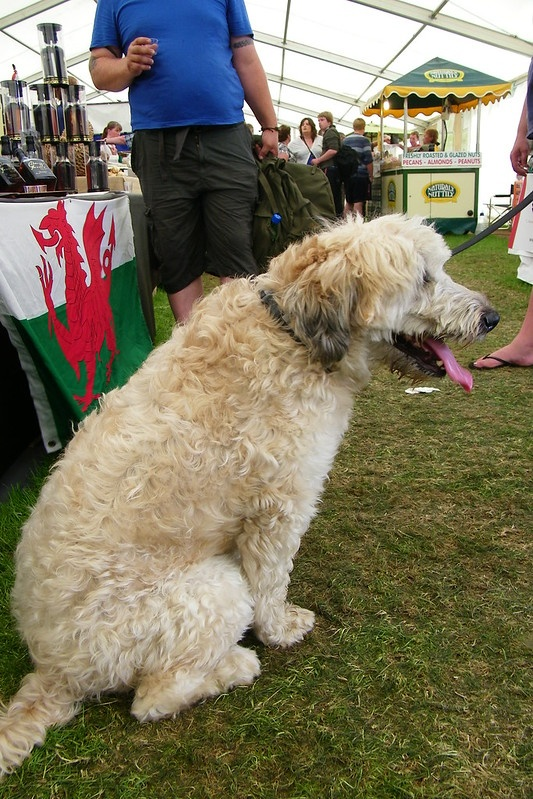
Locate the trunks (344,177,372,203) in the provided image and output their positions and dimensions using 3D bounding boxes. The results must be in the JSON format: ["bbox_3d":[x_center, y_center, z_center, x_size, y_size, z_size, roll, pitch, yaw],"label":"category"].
[{"bbox_3d":[1.920,-4.424,12.921,0.484,0.546,0.799,1,19,5],"label":"trunks"}]

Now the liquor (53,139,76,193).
[{"bbox_3d":[-1.295,-1.455,3.894,0.143,0.348,0.143,-3,4,11],"label":"liquor"}]

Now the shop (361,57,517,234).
[{"bbox_3d":[4.364,-6.164,15.130,3.613,3.647,3.616,-15,23,-17],"label":"shop"}]

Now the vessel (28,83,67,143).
[{"bbox_3d":[-1.410,-1.839,3.943,0.193,0.363,0.251,-7,20,-18],"label":"vessel"}]

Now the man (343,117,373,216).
[{"bbox_3d":[1.997,-4.870,13.163,0.642,2.082,0.721,-20,29,-37],"label":"man"}]

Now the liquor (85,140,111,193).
[{"bbox_3d":[-1.169,-1.608,4.220,0.172,0.381,0.168,-1,16,0],"label":"liquor"}]

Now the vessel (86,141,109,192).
[{"bbox_3d":[-1.180,-1.601,4.199,0.137,0.334,0.133,9,25,18],"label":"vessel"}]

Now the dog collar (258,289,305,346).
[{"bbox_3d":[0.047,-0.238,1.829,0.042,0.057,0.185,-24,69,-31],"label":"dog collar"}]

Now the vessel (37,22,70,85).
[{"bbox_3d":[-1.389,-2.236,3.953,0.150,0.412,0.309,-7,20,-17],"label":"vessel"}]

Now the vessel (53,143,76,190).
[{"bbox_3d":[-1.275,-1.470,3.873,0.118,0.287,0.113,-3,16,-18],"label":"vessel"}]
